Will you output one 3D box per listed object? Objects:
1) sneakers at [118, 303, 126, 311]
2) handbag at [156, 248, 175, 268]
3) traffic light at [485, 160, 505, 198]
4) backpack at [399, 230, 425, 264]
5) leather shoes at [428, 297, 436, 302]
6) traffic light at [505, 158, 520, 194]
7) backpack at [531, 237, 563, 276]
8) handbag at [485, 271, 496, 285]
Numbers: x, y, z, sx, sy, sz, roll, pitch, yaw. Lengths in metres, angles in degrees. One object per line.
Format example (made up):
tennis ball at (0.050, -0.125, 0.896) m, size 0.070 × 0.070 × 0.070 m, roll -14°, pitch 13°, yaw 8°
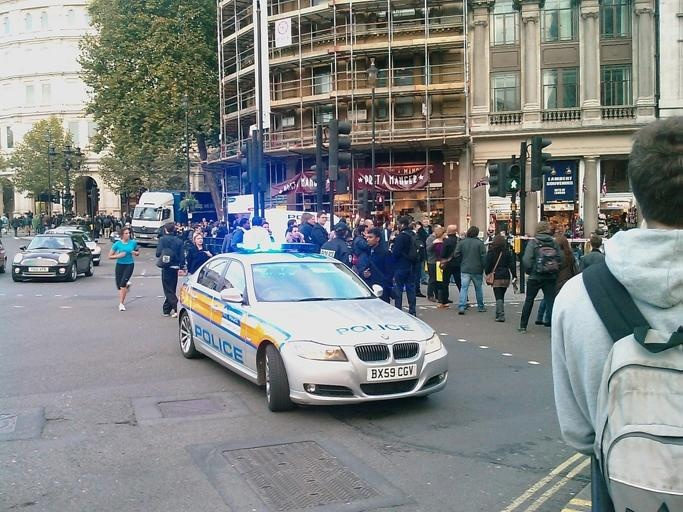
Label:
sneakers at (-4.632, 1.092, 16.460) m, size 0.101 × 0.121 × 0.281 m, roll -2°, pitch 1°, yaw -19°
handbag at (-3.505, 0.047, 15.531) m, size 0.246 × 0.336 × 0.172 m, roll 22°, pitch -24°, yaw -17°
traffic light at (3.791, -1.817, 18.687) m, size 0.416 × 0.790 × 1.089 m, roll 0°, pitch 4°, yaw 13°
backpack at (1.520, -0.157, 15.652) m, size 0.611 × 0.629 × 0.396 m, roll 4°, pitch 8°, yaw 27°
leather shoes at (2.207, 1.066, 18.661) m, size 0.081 × 0.075 × 0.174 m, roll -3°, pitch 0°, yaw -23°
traffic light at (4.072, -1.846, 18.280) m, size 0.279 × 0.691 × 0.450 m, roll 0°, pitch 4°, yaw 16°
backpack at (3.664, 0.026, 13.824) m, size 0.439 × 0.646 × 0.641 m, roll 1°, pitch -19°, yaw 7°
handbag at (2.957, 0.433, 15.335) m, size 0.138 × 0.274 × 0.254 m, roll 19°, pitch -3°, yaw -30°
